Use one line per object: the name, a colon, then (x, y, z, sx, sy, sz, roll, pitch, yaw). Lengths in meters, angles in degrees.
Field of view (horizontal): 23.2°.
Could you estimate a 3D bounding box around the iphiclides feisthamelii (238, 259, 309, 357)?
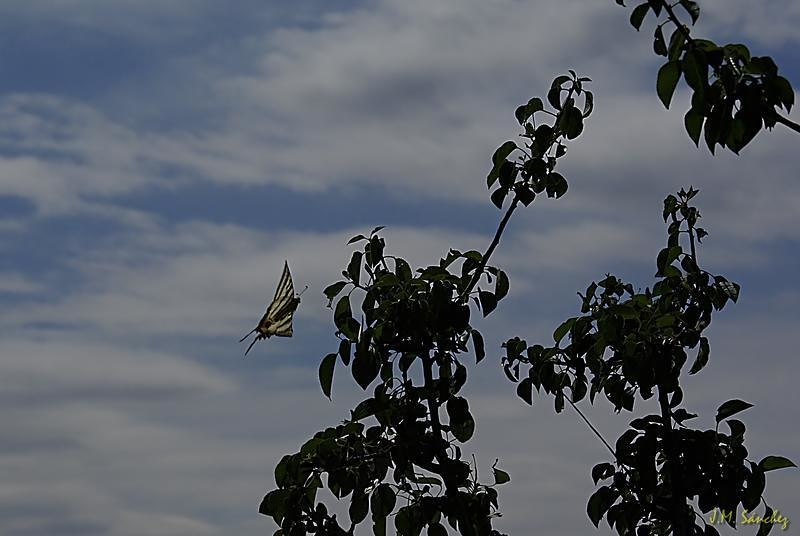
iphiclides feisthamelii: (-0.610, 0.226, 8.864, 0.197, 0.465, 0.420, 50, -5, 17)
